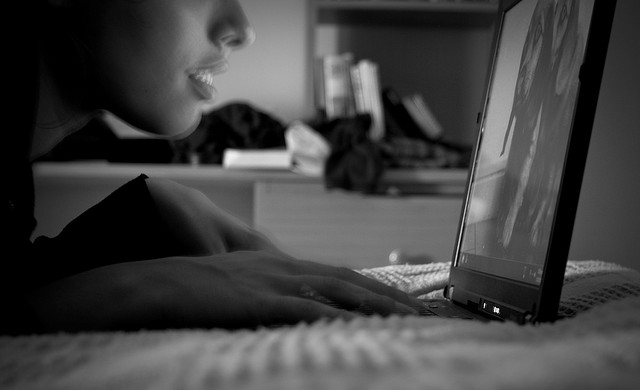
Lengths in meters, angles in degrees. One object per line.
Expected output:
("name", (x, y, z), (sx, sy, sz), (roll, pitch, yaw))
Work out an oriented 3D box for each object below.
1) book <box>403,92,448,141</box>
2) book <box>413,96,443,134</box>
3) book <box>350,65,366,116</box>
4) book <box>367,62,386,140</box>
("book", (0.369, -0.276, 1.774), (0.041, 0.175, 0.174), (-26, 14, 18))
("book", (0.386, -0.294, 1.816), (0.048, 0.166, 0.047), (-33, -3, -27))
("book", (0.125, -0.359, 1.695), (0.034, 0.161, 0.068), (-3, 8, -14))
("book", (0.191, -0.321, 1.696), (0.059, 0.260, 0.104), (0, 8, 1))
